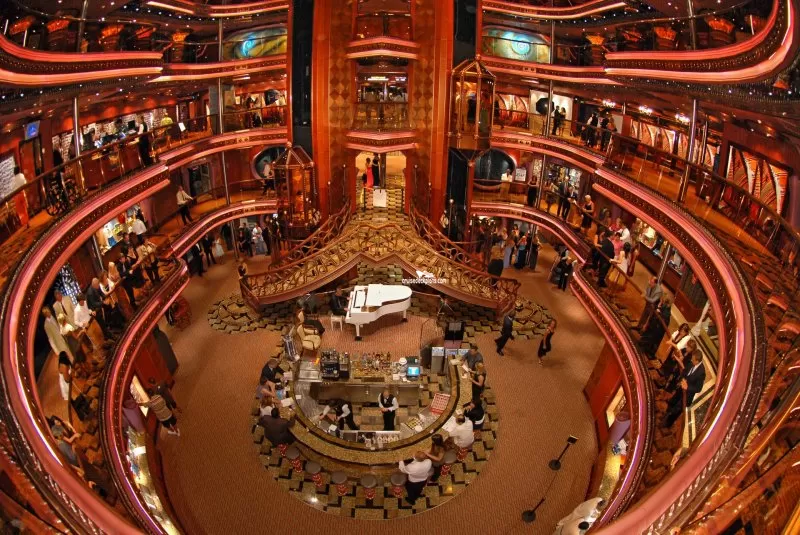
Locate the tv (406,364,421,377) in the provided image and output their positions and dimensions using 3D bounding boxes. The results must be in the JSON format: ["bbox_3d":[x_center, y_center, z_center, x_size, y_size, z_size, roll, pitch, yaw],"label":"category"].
[{"bbox_3d":[0.414,3.426,18.091,0.487,0.337,0.419,4,-46,-3],"label":"tv"}]

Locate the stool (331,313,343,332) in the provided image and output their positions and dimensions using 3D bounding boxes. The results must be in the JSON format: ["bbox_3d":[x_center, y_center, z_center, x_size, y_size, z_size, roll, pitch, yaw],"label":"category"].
[{"bbox_3d":[-2.469,2.138,21.185,0.464,0.543,0.809,1,-73,-1],"label":"stool"}]

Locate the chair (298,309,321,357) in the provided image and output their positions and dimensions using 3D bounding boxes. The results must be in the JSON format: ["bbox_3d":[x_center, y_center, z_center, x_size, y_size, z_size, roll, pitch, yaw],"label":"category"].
[{"bbox_3d":[-3.396,2.470,20.069,0.792,0.892,1.159,7,-41,0],"label":"chair"}]

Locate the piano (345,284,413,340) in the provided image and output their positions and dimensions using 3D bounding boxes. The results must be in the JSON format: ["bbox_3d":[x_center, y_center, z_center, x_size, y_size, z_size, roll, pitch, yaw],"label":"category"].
[{"bbox_3d":[-0.975,1.581,21.356,2.805,2.269,1.478,-7,-65,-19],"label":"piano"}]
